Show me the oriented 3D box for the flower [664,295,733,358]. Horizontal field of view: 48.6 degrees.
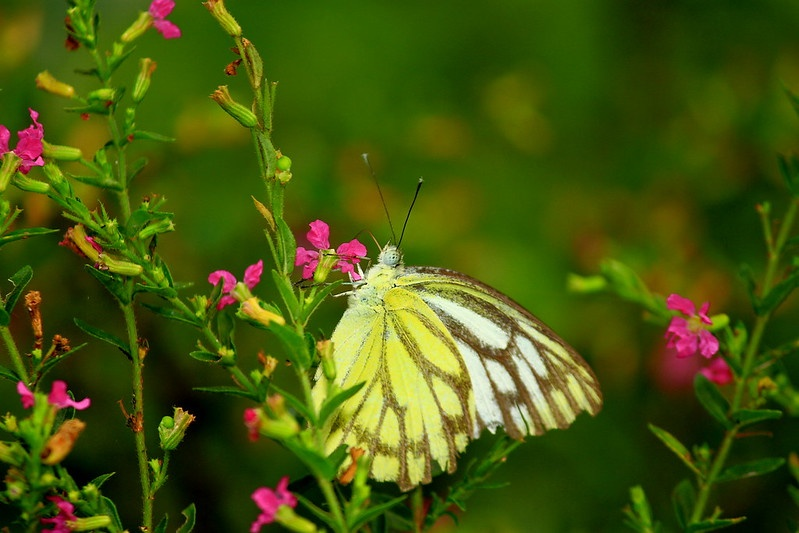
[{"bbox_3d":[1.319,0.262,3.905,0.248,0.275,0.254,-7,-10,21],"label":"flower"}]
